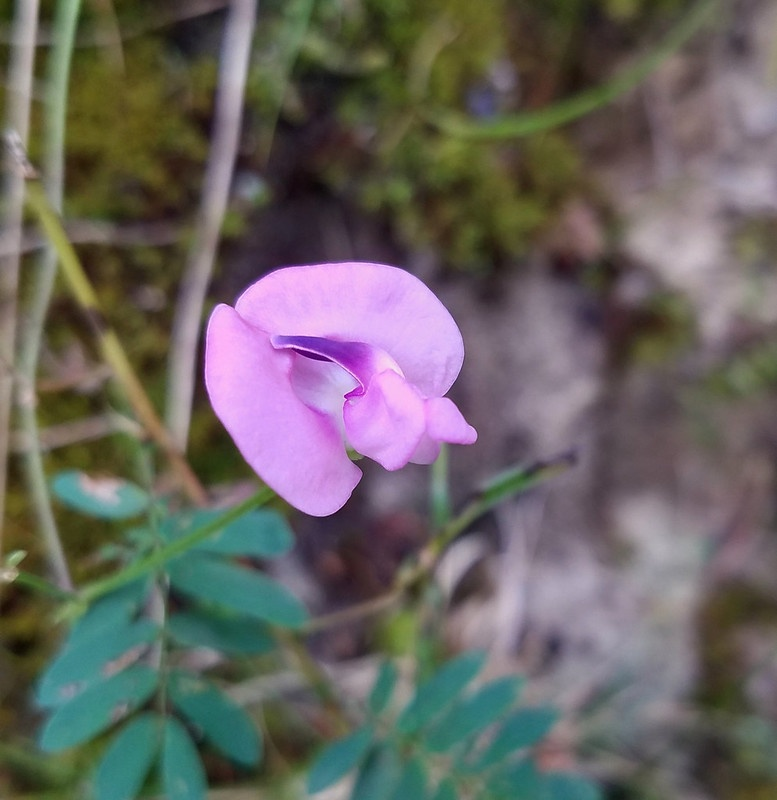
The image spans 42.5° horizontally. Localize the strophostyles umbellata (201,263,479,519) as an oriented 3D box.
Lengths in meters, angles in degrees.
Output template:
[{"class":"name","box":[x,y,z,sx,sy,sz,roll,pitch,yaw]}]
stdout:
[{"class":"strophostyles umbellata","box":[-0.037,-0.020,0.864,0.208,0.217,0.109,-20,-4,5]}]
